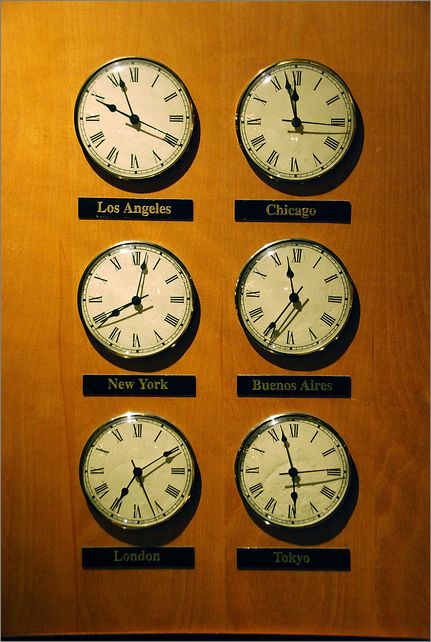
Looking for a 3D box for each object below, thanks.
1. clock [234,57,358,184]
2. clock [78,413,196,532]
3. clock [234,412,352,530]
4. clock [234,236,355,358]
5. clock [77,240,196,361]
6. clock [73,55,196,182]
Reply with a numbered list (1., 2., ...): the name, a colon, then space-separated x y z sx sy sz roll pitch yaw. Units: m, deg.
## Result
1. clock: 0.232 -0.614 2.620 0.283 0.336 0.024 8 1 -1
2. clock: -0.221 0.454 2.625 0.280 0.334 0.033 4 -2 6
3. clock: 0.225 0.460 2.624 0.277 0.332 0.032 4 -1 4
4. clock: 0.224 -0.066 2.625 0.302 0.361 0.035 1 -2 4
5. clock: -0.224 -0.060 2.620 0.291 0.348 0.033 -3 0 5
6. clock: -0.245 -0.604 2.602 0.333 0.401 0.029 -1 -15 -5
